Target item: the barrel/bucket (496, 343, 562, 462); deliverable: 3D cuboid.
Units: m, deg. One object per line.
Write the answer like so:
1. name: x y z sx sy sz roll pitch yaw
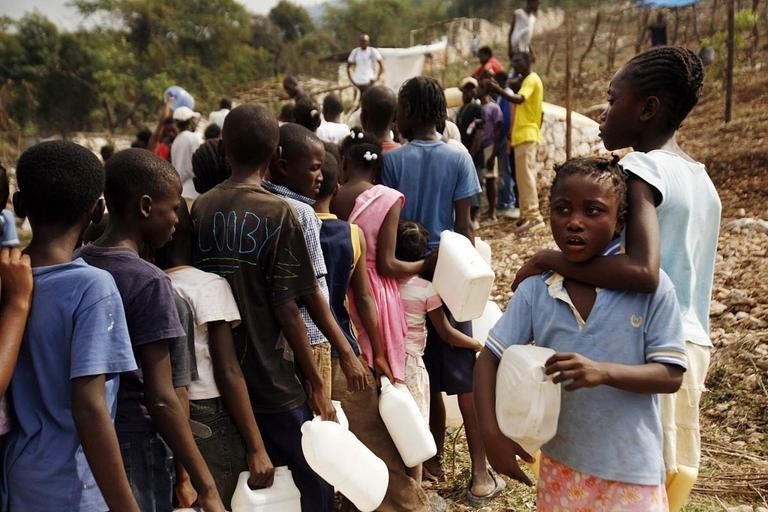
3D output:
1. barrel/bucket: 0.804 0.821 4.821 0.374 0.644 0.464 9 33 2

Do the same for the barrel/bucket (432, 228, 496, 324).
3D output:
1. barrel/bucket: 0.541 0.159 6.054 0.323 0.520 0.534 -5 38 -22

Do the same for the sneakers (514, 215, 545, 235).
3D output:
1. sneakers: 1.690 -0.335 10.191 0.171 0.166 0.430 -29 -2 41

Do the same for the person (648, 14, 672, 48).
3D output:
1. person: 4.164 -3.405 13.215 0.243 0.567 1.095 -1 5 17

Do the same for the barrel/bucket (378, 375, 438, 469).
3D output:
1. barrel/bucket: 0.138 1.087 5.732 0.374 0.562 0.183 2 7 38

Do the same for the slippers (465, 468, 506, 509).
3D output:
1. slippers: 0.766 1.679 6.333 0.207 0.160 0.388 -1 22 34
